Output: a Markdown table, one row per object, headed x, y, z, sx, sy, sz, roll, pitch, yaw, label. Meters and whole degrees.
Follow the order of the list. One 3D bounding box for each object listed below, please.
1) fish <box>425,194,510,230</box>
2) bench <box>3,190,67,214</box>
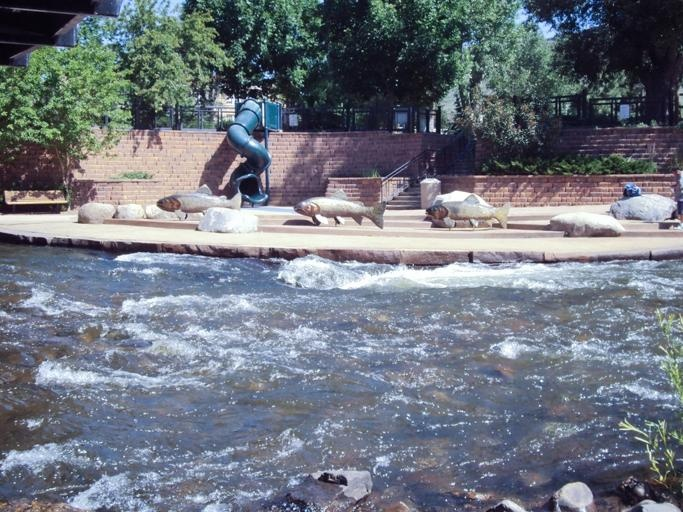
| x | y | z | sx | sy | sz | roll | pitch | yaw | label |
| --- | --- | --- | --- | --- | --- | --- | --- | --- | --- |
| 2.950 | -1.041 | 21.338 | 1.883 | 0.775 | 0.629 | 3 | 7 | 15 | fish |
| -9.428 | -1.684 | 28.139 | 2.040 | 0.696 | 1.279 | -4 | 9 | -36 | bench |
